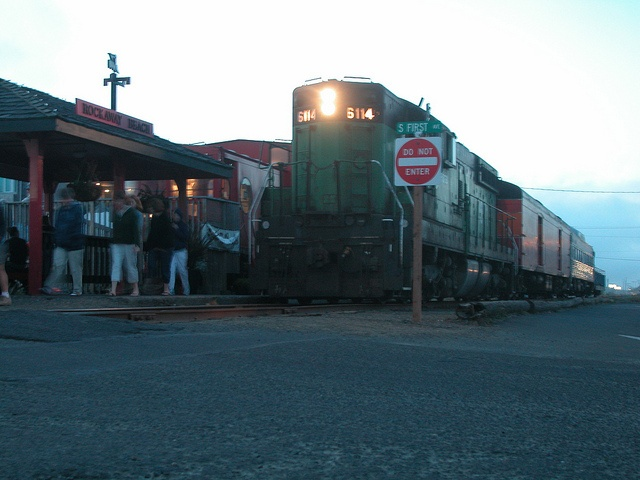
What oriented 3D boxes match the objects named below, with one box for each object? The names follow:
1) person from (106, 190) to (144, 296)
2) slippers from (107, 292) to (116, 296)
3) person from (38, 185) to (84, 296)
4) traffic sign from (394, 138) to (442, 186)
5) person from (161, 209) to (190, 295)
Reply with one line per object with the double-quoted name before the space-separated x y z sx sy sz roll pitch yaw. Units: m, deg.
"person" -3.525 0.072 11.749 0.513 1.986 0.557 2 -4 -16
"slippers" -3.758 1.030 11.701 0.164 0.066 0.358 2 -4 -18
"person" -4.500 0.000 11.508 0.833 1.853 0.654 2 3 9
"traffic sign" 1.472 -1.237 9.681 0.971 0.810 0.073 0 -2 21
"person" -2.893 0.256 13.273 0.365 1.846 0.654 2 -4 -11
